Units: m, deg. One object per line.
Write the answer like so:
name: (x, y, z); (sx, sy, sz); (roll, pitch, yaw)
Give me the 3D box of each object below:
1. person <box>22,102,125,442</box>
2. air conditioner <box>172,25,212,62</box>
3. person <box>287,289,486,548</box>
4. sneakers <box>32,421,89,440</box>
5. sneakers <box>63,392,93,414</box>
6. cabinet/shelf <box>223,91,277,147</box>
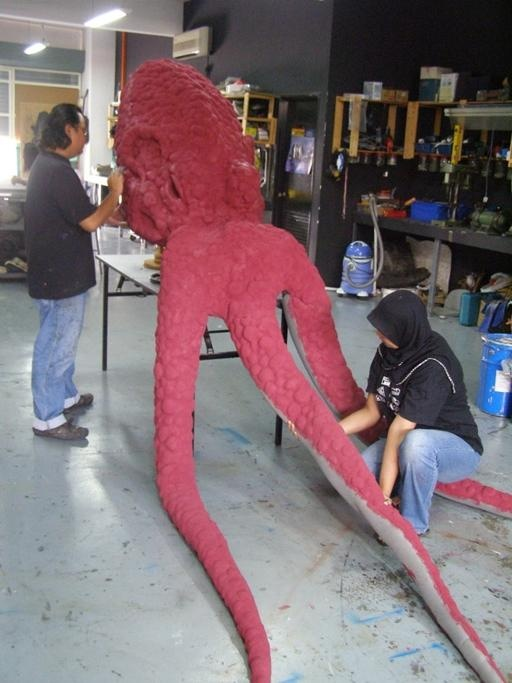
person: (-0.954, -0.306, 2.960); (0.398, 1.743, 0.542); (-4, 17, -27)
air conditioner: (-1.060, -4.950, 9.611); (0.323, 0.414, 0.812); (-5, 16, -32)
person: (0.666, 0.284, 2.438); (0.511, 1.003, 0.469); (-4, 17, -27)
sneakers: (-1.051, 0.500, 3.141); (0.295, 0.110, 0.111); (-3, 7, -7)
sneakers: (-1.104, 0.387, 3.575); (0.064, 0.067, 0.171); (17, 31, 29)
cabinet/shelf: (0.035, -3.093, 8.131); (0.397, 0.620, 0.514); (9, 19, 8)
